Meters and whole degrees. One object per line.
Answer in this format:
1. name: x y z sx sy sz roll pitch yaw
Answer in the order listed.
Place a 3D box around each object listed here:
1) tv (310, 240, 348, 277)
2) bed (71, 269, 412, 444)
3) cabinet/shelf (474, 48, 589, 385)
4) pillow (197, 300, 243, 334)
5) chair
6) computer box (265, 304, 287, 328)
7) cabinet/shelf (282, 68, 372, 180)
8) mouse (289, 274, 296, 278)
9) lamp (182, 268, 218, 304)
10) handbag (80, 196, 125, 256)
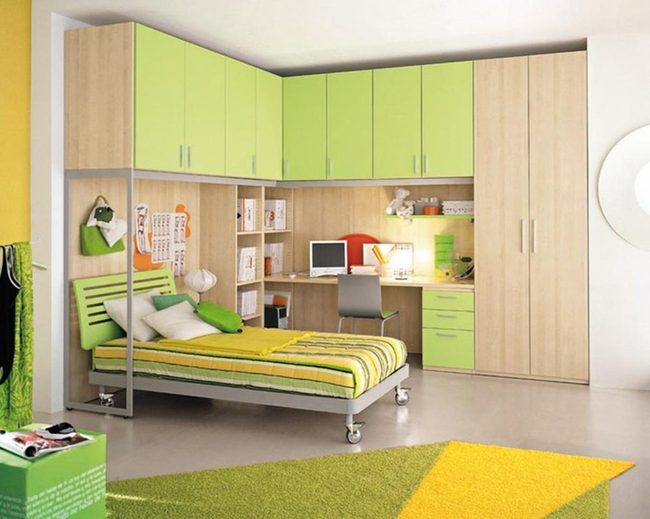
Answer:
1. tv: 0.036 -0.008 6.130 0.418 0.361 0.080 1 -3 4
2. bed: -0.670 0.538 4.356 2.114 0.961 1.279 0 2 22
3. cabinet/shelf: 1.903 -0.391 5.161 1.027 2.955 0.267 1 5 12
4. pillow: -0.871 0.499 4.695 0.298 0.086 0.290 20 7 -35
5. chair: 0.447 0.575 5.636 0.564 0.844 0.597 0 1 36
6. computer box: -0.544 0.627 6.230 0.269 0.241 0.257 0 0 21
7. cabinet/shelf: 0.051 -1.423 5.820 1.319 1.278 0.477 0 2 22
8. mouse: -0.341 0.177 6.064 0.043 0.032 0.045 -1 5 -12
9. lamp: -1.214 0.251 5.351 0.312 0.294 0.293 1 6 6
10. handbag: -1.852 -0.274 4.581 0.183 0.506 0.535 -1 1 19
